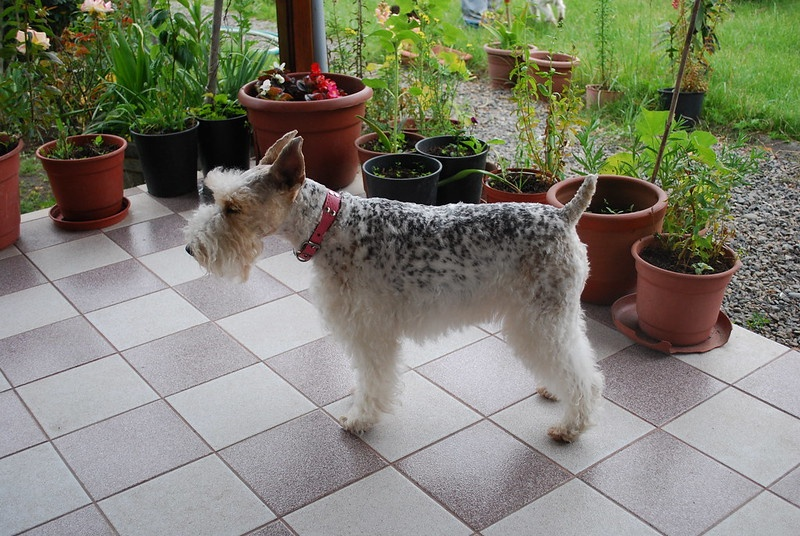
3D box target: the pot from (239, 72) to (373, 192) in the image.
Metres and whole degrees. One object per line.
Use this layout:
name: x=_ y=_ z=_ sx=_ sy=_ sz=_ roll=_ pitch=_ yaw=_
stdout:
pot: x=-0.765 y=-1.166 z=5.335 sx=1.066 sy=0.764 sz=1.065 roll=1 pitch=33 yaw=0

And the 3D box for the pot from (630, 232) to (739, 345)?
pot: x=1.740 y=0.149 z=3.726 sx=0.626 sy=0.542 sz=0.614 roll=0 pitch=26 yaw=0

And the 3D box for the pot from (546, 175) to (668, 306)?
pot: x=1.413 y=-0.219 z=4.160 sx=0.825 sy=0.784 sz=0.869 roll=-2 pitch=29 yaw=1

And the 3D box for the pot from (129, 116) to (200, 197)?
pot: x=-2.025 y=-1.012 z=5.243 sx=0.571 sy=0.525 sz=0.626 roll=2 pitch=21 yaw=-1

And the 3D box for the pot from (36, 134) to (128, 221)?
pot: x=-2.603 y=-0.762 z=4.981 sx=0.713 sy=0.575 sz=0.742 roll=7 pitch=33 yaw=-5

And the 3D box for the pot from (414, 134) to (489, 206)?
pot: x=0.462 y=-0.832 z=5.014 sx=0.569 sy=0.481 sz=0.627 roll=2 pitch=27 yaw=5

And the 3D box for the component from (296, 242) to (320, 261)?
component: x=-0.469 y=-0.084 z=3.005 sx=0.049 sy=0.105 sz=0.090 roll=34 pitch=38 yaw=-16

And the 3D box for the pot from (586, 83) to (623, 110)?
pot: x=2.364 y=-2.041 z=6.716 sx=0.323 sy=0.205 sz=0.303 roll=1 pitch=34 yaw=-1

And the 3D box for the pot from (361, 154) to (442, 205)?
pot: x=0.028 y=-0.701 z=4.489 sx=0.505 sy=0.381 sz=0.459 roll=-2 pitch=27 yaw=-6

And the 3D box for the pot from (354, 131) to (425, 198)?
pot: x=-0.112 y=-0.920 z=5.084 sx=0.573 sy=0.428 sz=0.598 roll=-1 pitch=36 yaw=1
